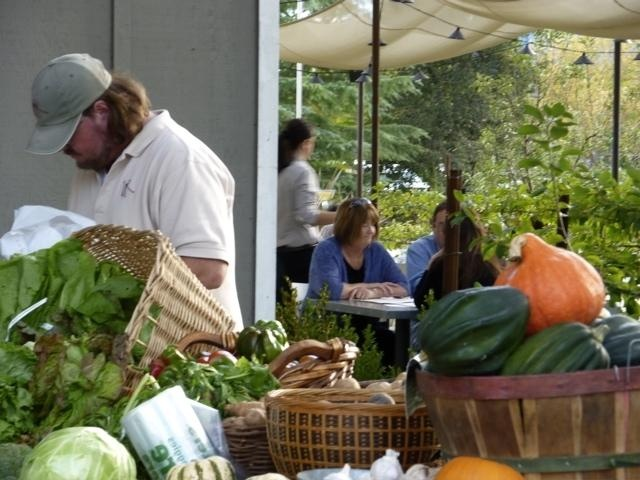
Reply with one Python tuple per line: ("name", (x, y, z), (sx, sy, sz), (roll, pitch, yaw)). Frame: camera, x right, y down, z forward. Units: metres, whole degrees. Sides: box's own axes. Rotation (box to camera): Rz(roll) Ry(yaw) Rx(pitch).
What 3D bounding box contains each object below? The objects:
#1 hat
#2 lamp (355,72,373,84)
("hat", (-1.139, -0.622, 3.870), (0.367, 0.469, 0.218), (0, 2, -17))
("lamp", (0.542, -1.950, 10.433), (0.162, 0.102, 0.177), (1, 11, -1))
